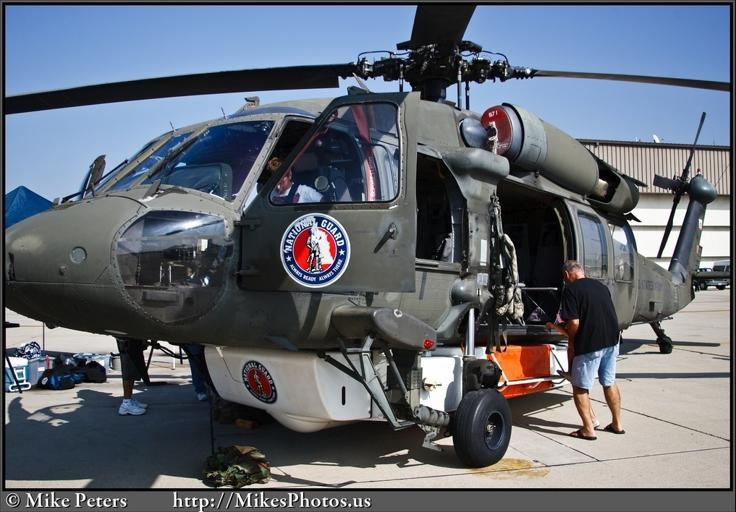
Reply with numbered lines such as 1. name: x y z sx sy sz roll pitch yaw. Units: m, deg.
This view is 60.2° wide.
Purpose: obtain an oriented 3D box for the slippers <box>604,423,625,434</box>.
1. slippers: 2.922 2.050 7.561 0.097 0.056 0.196 1 0 -33

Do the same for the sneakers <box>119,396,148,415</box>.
1. sneakers: -2.949 1.889 8.001 0.318 0.143 0.190 -1 -2 5

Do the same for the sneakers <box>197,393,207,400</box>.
1. sneakers: -2.230 1.889 8.541 0.061 0.066 0.161 7 -13 -39

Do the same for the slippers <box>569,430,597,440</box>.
1. slippers: 2.495 2.064 7.434 0.114 0.105 0.300 4 -3 -36

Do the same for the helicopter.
1. helicopter: -0.026 -0.280 7.443 6.644 2.865 5.223 6 -5 -41
